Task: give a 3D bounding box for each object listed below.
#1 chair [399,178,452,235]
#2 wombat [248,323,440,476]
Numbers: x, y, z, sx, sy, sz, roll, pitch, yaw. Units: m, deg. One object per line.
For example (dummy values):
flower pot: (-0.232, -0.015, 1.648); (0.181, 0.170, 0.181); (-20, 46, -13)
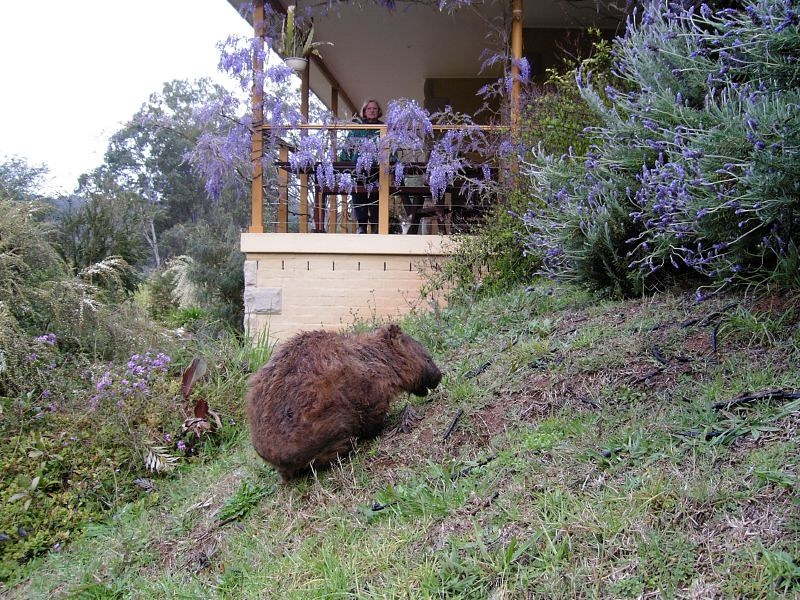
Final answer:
chair: (0.357, -1.427, 9.421); (0.841, 0.972, 0.931); (0, 8, 7)
wombat: (-0.362, 0.503, 4.079); (1.173, 0.736, 0.686); (-25, 24, -17)
